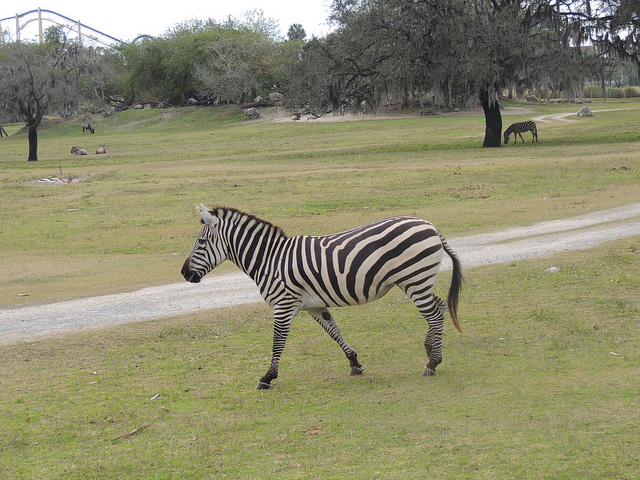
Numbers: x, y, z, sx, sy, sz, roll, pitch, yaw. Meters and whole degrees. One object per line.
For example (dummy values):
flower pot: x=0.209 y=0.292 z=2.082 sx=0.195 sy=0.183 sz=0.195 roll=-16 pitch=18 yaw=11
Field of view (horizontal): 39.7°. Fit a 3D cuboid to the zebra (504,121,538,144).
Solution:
zebra: x=10.760 y=-5.776 z=47.638 sx=1.764 sy=1.150 sz=2.439 roll=2 pitch=8 yaw=22
